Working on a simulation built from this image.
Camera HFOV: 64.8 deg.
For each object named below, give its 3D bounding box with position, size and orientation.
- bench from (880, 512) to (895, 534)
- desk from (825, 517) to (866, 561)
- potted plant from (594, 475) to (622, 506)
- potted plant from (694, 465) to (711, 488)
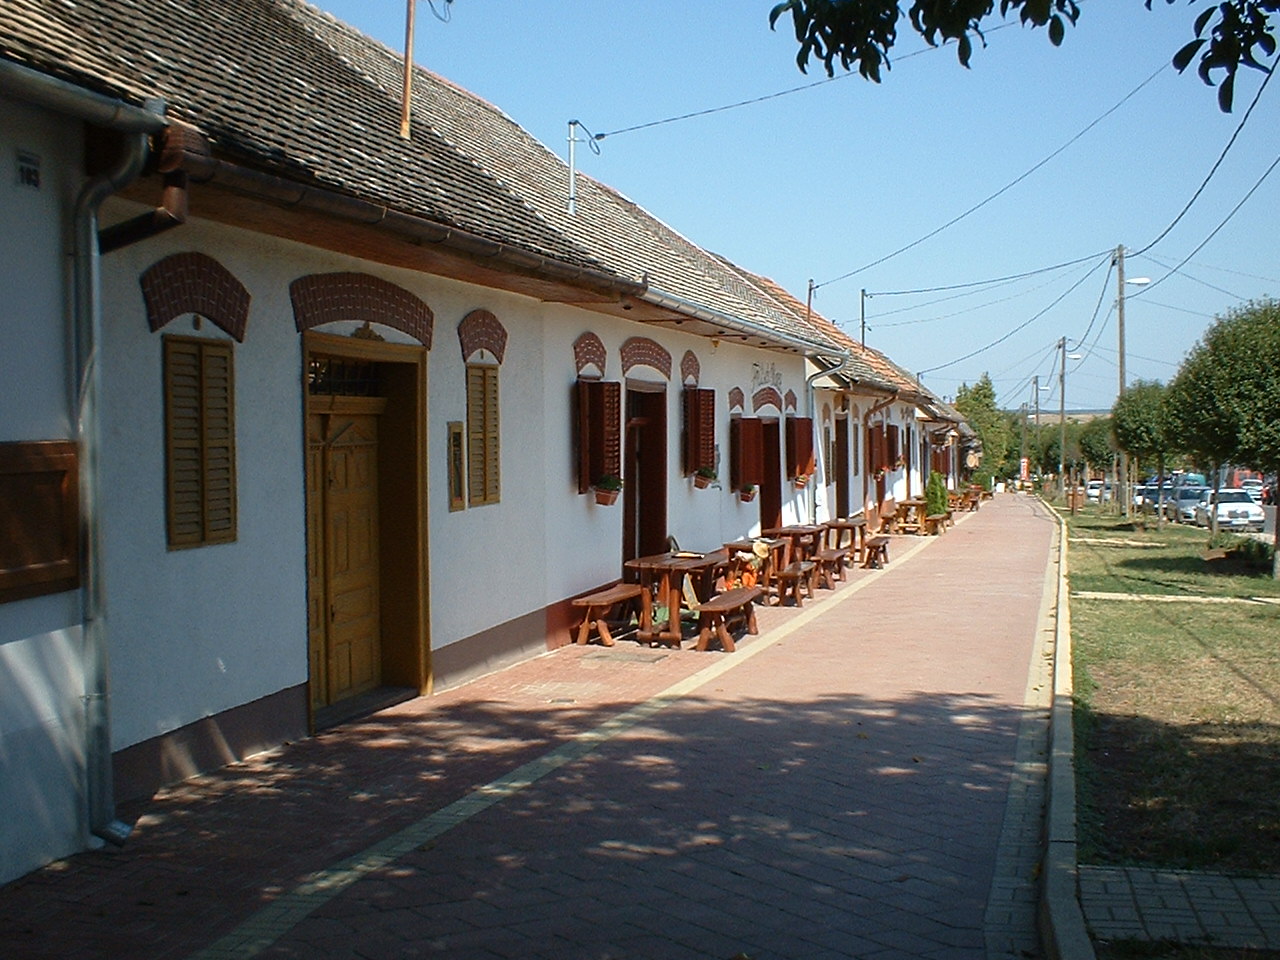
[{"bbox_3d":[6.939,1.228,28.299,0.497,0.679,0.977,1,0,18],"label":"bench"},{"bbox_3d":[4.383,1.443,21.721,1.064,1.127,1.130,-2,-1,16],"label":"desk"},{"bbox_3d":[-0.426,0.138,12.878,0.297,0.372,0.356,1,2,17],"label":"potted plant"},{"bbox_3d":[1.006,-0.011,15.920,0.305,0.312,0.489,0,2,14],"label":"potted plant"}]
